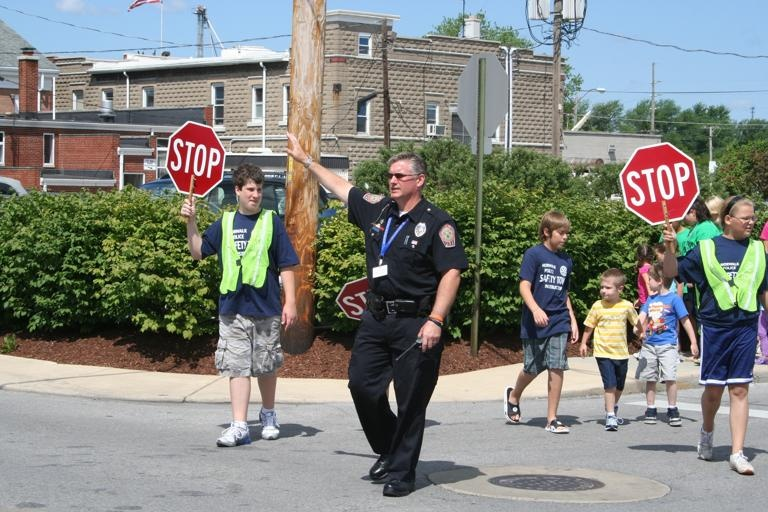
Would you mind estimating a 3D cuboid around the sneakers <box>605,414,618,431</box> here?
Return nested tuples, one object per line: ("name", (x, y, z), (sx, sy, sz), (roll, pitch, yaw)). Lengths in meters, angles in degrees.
("sneakers", (2.863, 2.082, 11.720), (0.105, 0.112, 0.247), (0, -1, 1))

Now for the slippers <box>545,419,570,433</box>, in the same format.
("slippers", (2.135, 2.082, 11.561), (0.142, 0.112, 0.282), (1, -4, -16))

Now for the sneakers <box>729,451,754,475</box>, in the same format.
("sneakers", (3.864, 2.222, 10.112), (0.137, 0.152, 0.361), (-6, -2, -4))

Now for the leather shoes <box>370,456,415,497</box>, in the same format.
("leather shoes", (0.077, 2.244, 9.445), (0.212, 0.247, 0.592), (1, -6, 8))

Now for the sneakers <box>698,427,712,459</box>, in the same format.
("sneakers", (3.632, 2.081, 10.505), (0.133, 0.380, 0.176), (-2, -4, 3))

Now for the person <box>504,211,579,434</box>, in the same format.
("person", (2.039, 0.791, 11.742), (0.798, 2.716, 0.839), (0, 6, -13))

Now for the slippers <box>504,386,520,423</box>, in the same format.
("slippers", (1.647, 1.900, 12.049), (0.175, 0.441, 0.143), (-6, 0, -20))

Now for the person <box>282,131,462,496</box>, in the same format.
("person", (0.071, 0.623, 9.604), (1.353, 3.376, 0.820), (7, 8, 39))

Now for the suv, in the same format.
("suv", (-2.949, -0.714, 17.907), (3.600, 1.495, 1.758), (3, 6, 5))
